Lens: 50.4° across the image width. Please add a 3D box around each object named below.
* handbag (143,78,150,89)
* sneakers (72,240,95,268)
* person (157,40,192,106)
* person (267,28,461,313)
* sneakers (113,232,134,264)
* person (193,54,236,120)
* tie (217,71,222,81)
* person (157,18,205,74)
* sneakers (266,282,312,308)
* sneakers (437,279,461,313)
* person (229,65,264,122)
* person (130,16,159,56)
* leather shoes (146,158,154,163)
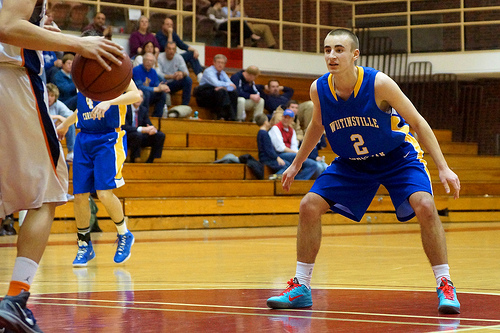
[{"bbox_3d":[-1.752,-1.468,9.128,0.075,0.149,0.167,5,8,14],"label":"handbag"},{"bbox_3d":[-1.553,0.808,4.942,0.122,0.237,0.365,-9,2,9],"label":"sneakers"},{"bbox_3d":[-1.451,-1.722,9.891,0.698,1.206,0.754,11,17,31],"label":"person"},{"bbox_3d":[0.760,0.027,3.325,1.064,1.713,0.708,4,8,3],"label":"person"},{"bbox_3d":[-1.174,0.770,5.011,0.121,0.155,0.361,2,43,14],"label":"sneakers"},{"bbox_3d":[-0.593,-1.501,9.915,0.829,1.206,0.438,4,8,5],"label":"person"},{"bbox_3d":[-0.550,-1.719,9.966,0.035,0.134,0.150,-4,16,25],"label":"tie"},{"bbox_3d":[-1.405,-2.349,10.621,0.869,1.312,0.468,-12,16,8],"label":"person"},{"bbox_3d":[0.280,0.812,3.354,0.330,0.182,0.119,4,-14,-13],"label":"sneakers"},{"bbox_3d":[1.199,0.761,3.136,0.133,0.148,0.226,6,8,19],"label":"sneakers"},{"bbox_3d":[0.038,-1.420,10.249,0.655,1.080,0.689,2,18,-12],"label":"person"},{"bbox_3d":[-1.945,-2.426,9.960,0.559,0.798,0.611,-2,11,-15],"label":"person"},{"bbox_3d":[-1.585,-0.106,8.544,0.164,0.091,0.092,2,4,-9],"label":"leather shoes"}]
